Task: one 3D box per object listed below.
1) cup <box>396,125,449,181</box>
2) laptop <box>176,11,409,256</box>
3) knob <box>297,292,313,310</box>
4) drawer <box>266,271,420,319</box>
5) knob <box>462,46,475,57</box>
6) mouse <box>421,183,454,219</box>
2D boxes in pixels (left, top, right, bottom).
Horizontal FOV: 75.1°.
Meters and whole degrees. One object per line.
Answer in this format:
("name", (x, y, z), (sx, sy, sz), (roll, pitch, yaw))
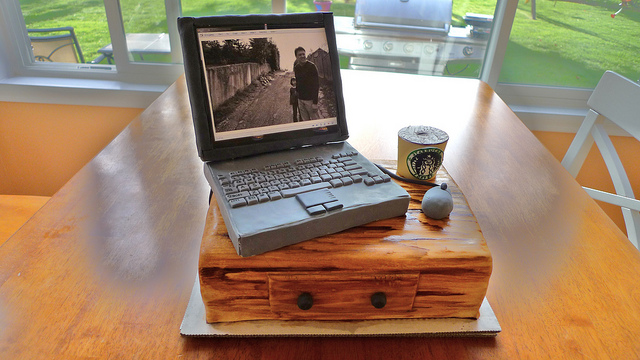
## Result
("cup", (0.296, -0.081, 1.239), (0.149, 0.128, 0.152), (2, 26, -1))
("laptop", (-0.067, -0.163, 1.100), (0.527, 0.415, 0.524), (-6, 41, -15))
("knob", (-0.038, 0.295, 1.021), (0.043, 0.039, 0.013), (-3, 8, -3))
("drawer", (0.056, 0.283, 1.030), (0.370, 0.119, 0.052), (0, 35, -2))
("knob", (0.848, -0.743, 2.387), (0.067, 0.058, 0.017), (3, 35, 4))
("mouse", (0.322, 0.046, 1.122), (0.091, 0.087, 0.087), (-19, 32, -36))
